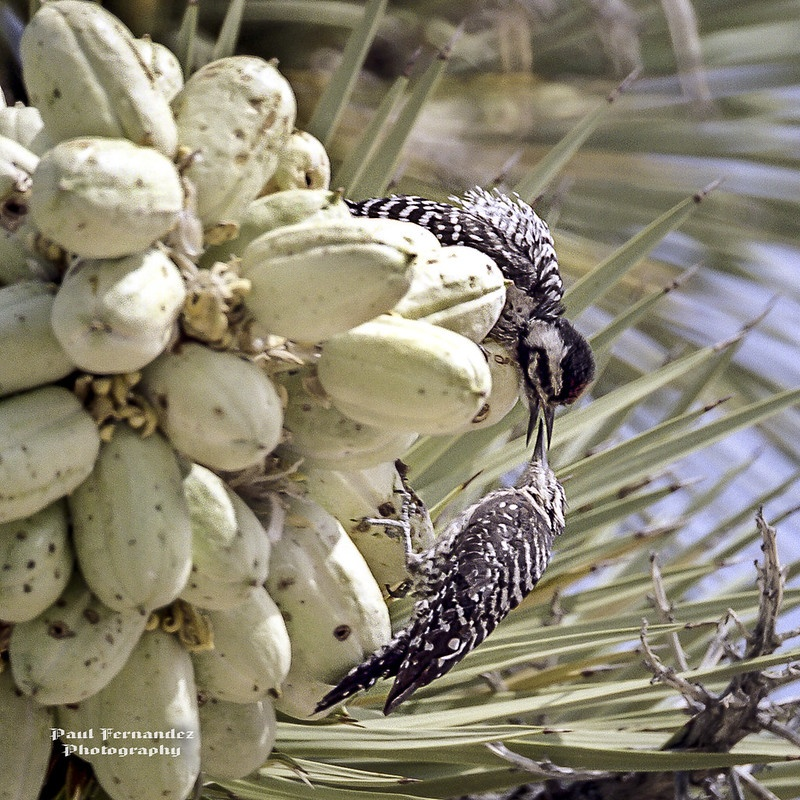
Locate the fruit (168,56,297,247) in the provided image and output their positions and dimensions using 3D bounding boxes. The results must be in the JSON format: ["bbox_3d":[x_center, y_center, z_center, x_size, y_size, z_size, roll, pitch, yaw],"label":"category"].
[{"bbox_3d":[-0.146,-0.234,1.221,0.106,0.149,0.110,-5,13,-28],"label":"fruit"}]

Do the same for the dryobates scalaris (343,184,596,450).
[{"bbox_3d":[0.104,-0.102,1.606,0.216,0.304,0.279,9,15,32],"label":"dryobates scalaris"}]
